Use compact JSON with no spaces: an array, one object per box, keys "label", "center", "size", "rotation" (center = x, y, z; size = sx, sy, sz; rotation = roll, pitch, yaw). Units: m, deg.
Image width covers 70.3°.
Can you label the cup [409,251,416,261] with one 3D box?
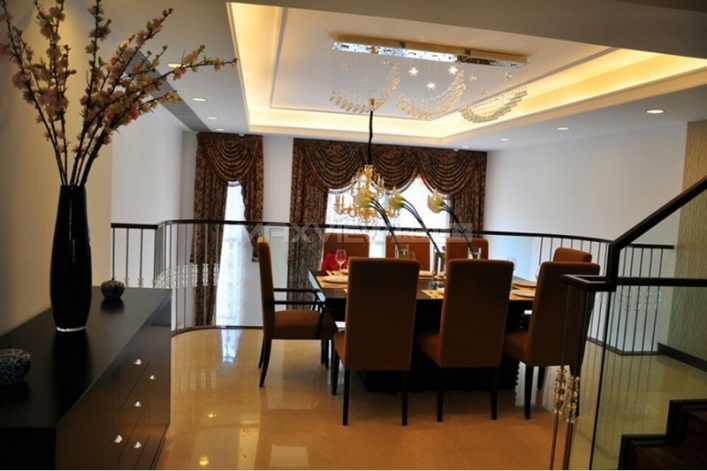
[{"label":"cup","center":[0.554,0.190,4.748],"size":[0.067,0.098,0.068],"rotation":[0,10,0]}]

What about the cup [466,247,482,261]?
[{"label":"cup","center":[1.112,0.162,4.628],"size":[0.126,0.150,0.134],"rotation":[1,-2,0]}]
